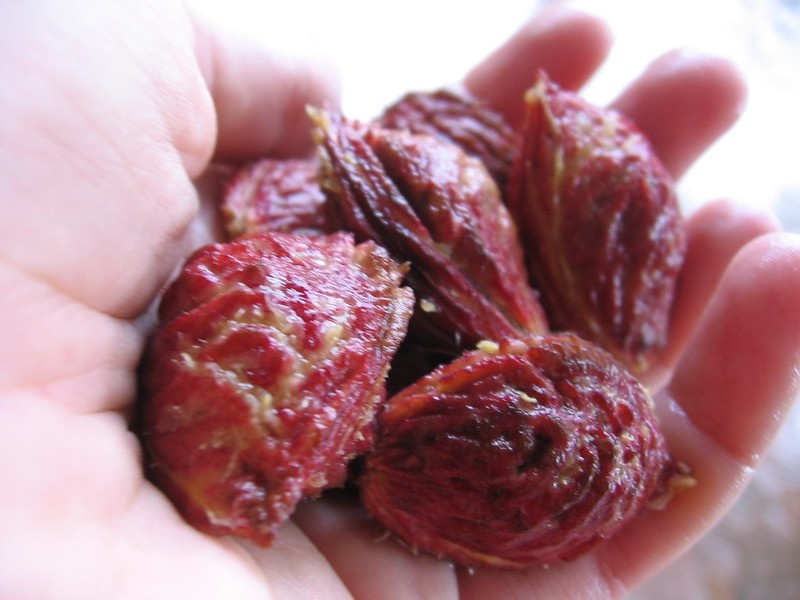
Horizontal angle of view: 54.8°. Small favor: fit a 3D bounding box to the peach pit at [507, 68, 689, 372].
[{"bbox_3d":[0.277,-0.106,1.059,0.113,0.225,0.382,-28,110,-48],"label":"peach pit"}]
